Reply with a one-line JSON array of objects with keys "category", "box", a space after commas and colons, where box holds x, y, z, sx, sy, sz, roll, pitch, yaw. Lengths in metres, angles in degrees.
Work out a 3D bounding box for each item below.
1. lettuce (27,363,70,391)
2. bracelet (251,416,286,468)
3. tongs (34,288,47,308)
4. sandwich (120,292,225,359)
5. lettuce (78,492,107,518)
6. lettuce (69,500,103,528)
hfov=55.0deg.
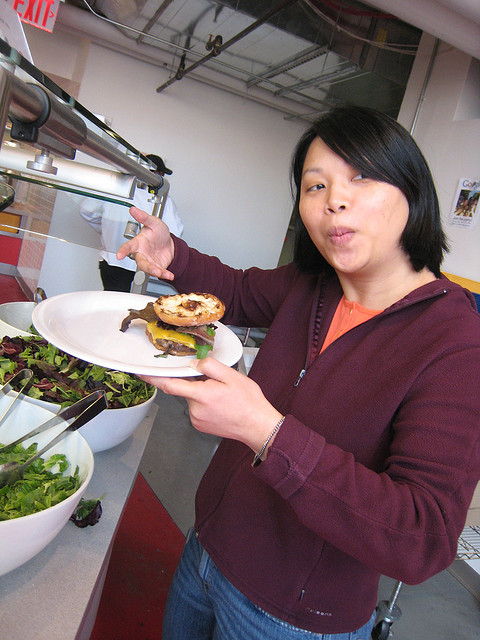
[{"category": "lettuce", "box": [-0.385, 0.111, 0.908, 0.058, 0.019, 0.057, 37, 0, -17]}, {"category": "bracelet", "box": [0.036, 0.176, 0.668, 0.018, 0.065, 0.063, 40, -17, -1]}, {"category": "tongs", "box": [-0.436, -0.052, 1.019, 0.040, 0.026, 0.007, 41, 54, 22]}, {"category": "sandwich", "box": [-0.156, -0.019, 1.069, 0.231, 0.079, 0.261, 4, 28, -21]}, {"category": "lettuce", "box": [-0.276, 0.339, 0.837, 0.059, 0.022, 0.042, -25, 4, -27]}, {"category": "lettuce", "box": [-0.267, 0.345, 0.833, 0.052, 0.051, 0.019, -7, -18, -22]}]
